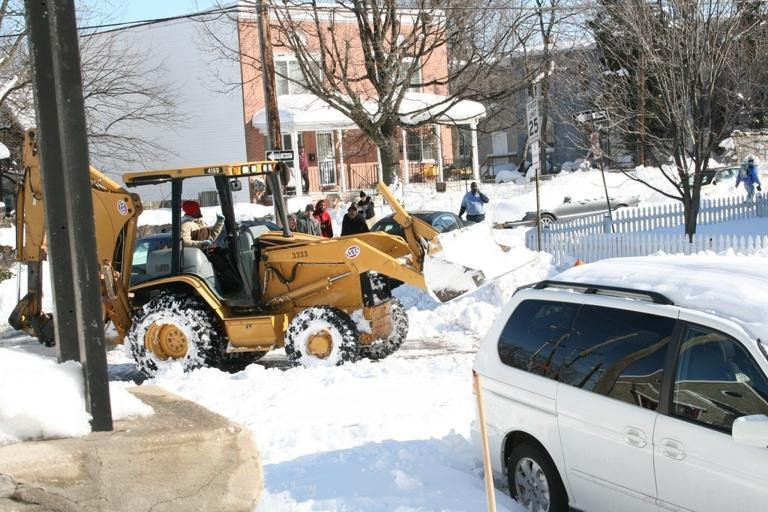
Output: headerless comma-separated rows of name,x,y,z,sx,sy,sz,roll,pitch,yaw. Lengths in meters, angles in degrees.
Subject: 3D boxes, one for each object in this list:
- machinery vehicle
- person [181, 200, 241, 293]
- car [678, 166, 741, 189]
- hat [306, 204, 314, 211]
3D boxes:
machinery vehicle,-2.334,-0.118,12.697,7.664,4.296,2.633,-3,-1,0
person,-3.150,-0.317,12.846,0.690,1.275,0.537,-13,10,-21
car,13.119,-3.087,29.159,0.767,0.657,2.575,7,13,38
hat,-1.795,-1.137,17.799,0.158,0.245,0.119,6,0,42
